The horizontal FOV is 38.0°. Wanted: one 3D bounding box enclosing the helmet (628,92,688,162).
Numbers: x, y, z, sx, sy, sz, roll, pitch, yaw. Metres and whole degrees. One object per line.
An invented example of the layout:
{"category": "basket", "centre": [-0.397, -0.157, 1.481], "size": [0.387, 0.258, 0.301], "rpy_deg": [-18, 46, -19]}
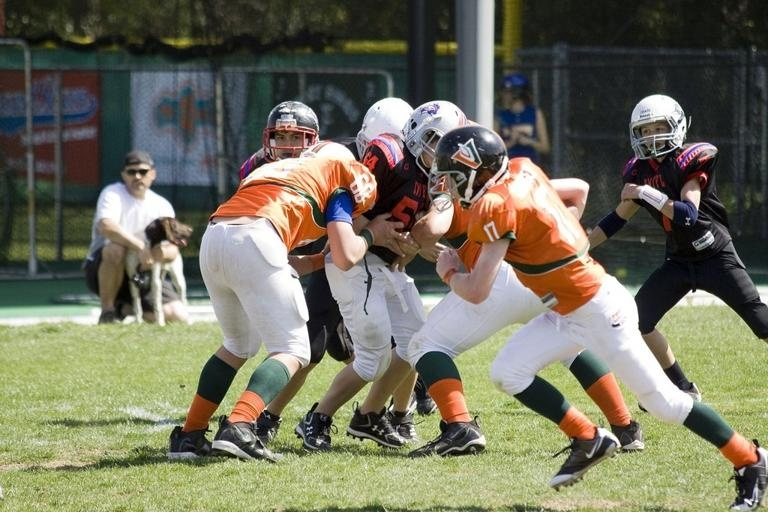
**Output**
{"category": "helmet", "centre": [2.360, -1.141, 9.597], "size": [0.455, 0.488, 0.603], "rpy_deg": [-5, 5, 38]}

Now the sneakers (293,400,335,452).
{"category": "sneakers", "centre": [-0.532, 1.390, 8.789], "size": [0.204, 0.273, 0.566], "rpy_deg": [27, 2, -24]}

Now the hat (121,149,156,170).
{"category": "hat", "centre": [-2.519, -1.015, 11.511], "size": [0.220, 0.177, 0.326], "rpy_deg": [0, 10, -8]}

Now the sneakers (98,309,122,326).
{"category": "sneakers", "centre": [-2.782, 0.622, 11.367], "size": [0.183, 0.145, 0.133], "rpy_deg": [10, -10, -44]}

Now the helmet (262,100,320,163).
{"category": "helmet", "centre": [-0.743, -1.042, 9.007], "size": [0.388, 0.474, 0.575], "rpy_deg": [4, 19, 7]}

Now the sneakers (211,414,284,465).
{"category": "sneakers", "centre": [-1.002, 1.386, 8.444], "size": [0.202, 0.303, 0.627], "rpy_deg": [3, -15, 39]}

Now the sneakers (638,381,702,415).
{"category": "sneakers", "centre": [2.056, 1.036, 8.120], "size": [0.436, 0.202, 0.154], "rpy_deg": [-30, -16, -15]}

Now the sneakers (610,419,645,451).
{"category": "sneakers", "centre": [1.852, 1.370, 8.524], "size": [0.125, 0.171, 0.350], "rpy_deg": [-7, 2, -2]}

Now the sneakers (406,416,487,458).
{"category": "sneakers", "centre": [0.491, 1.379, 8.418], "size": [0.586, 0.316, 0.210], "rpy_deg": [-4, -1, 13]}
